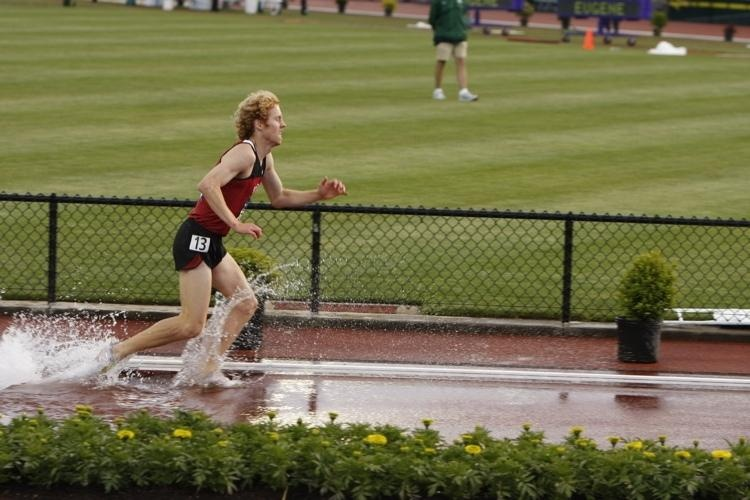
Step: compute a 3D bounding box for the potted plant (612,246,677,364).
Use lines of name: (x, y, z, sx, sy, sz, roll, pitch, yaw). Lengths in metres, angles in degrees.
potted plant: (2.821, 0.591, 12.755, 0.825, 0.976, 0.654, 7, -8, -3)

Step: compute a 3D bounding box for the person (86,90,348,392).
person: (-1.428, -0.149, 11.851, 0.937, 2.675, 1.731, 16, 19, 40)

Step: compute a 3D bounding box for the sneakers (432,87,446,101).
sneakers: (1.273, -3.113, 25.019, 0.204, 0.171, 0.341, -2, 1, -10)
